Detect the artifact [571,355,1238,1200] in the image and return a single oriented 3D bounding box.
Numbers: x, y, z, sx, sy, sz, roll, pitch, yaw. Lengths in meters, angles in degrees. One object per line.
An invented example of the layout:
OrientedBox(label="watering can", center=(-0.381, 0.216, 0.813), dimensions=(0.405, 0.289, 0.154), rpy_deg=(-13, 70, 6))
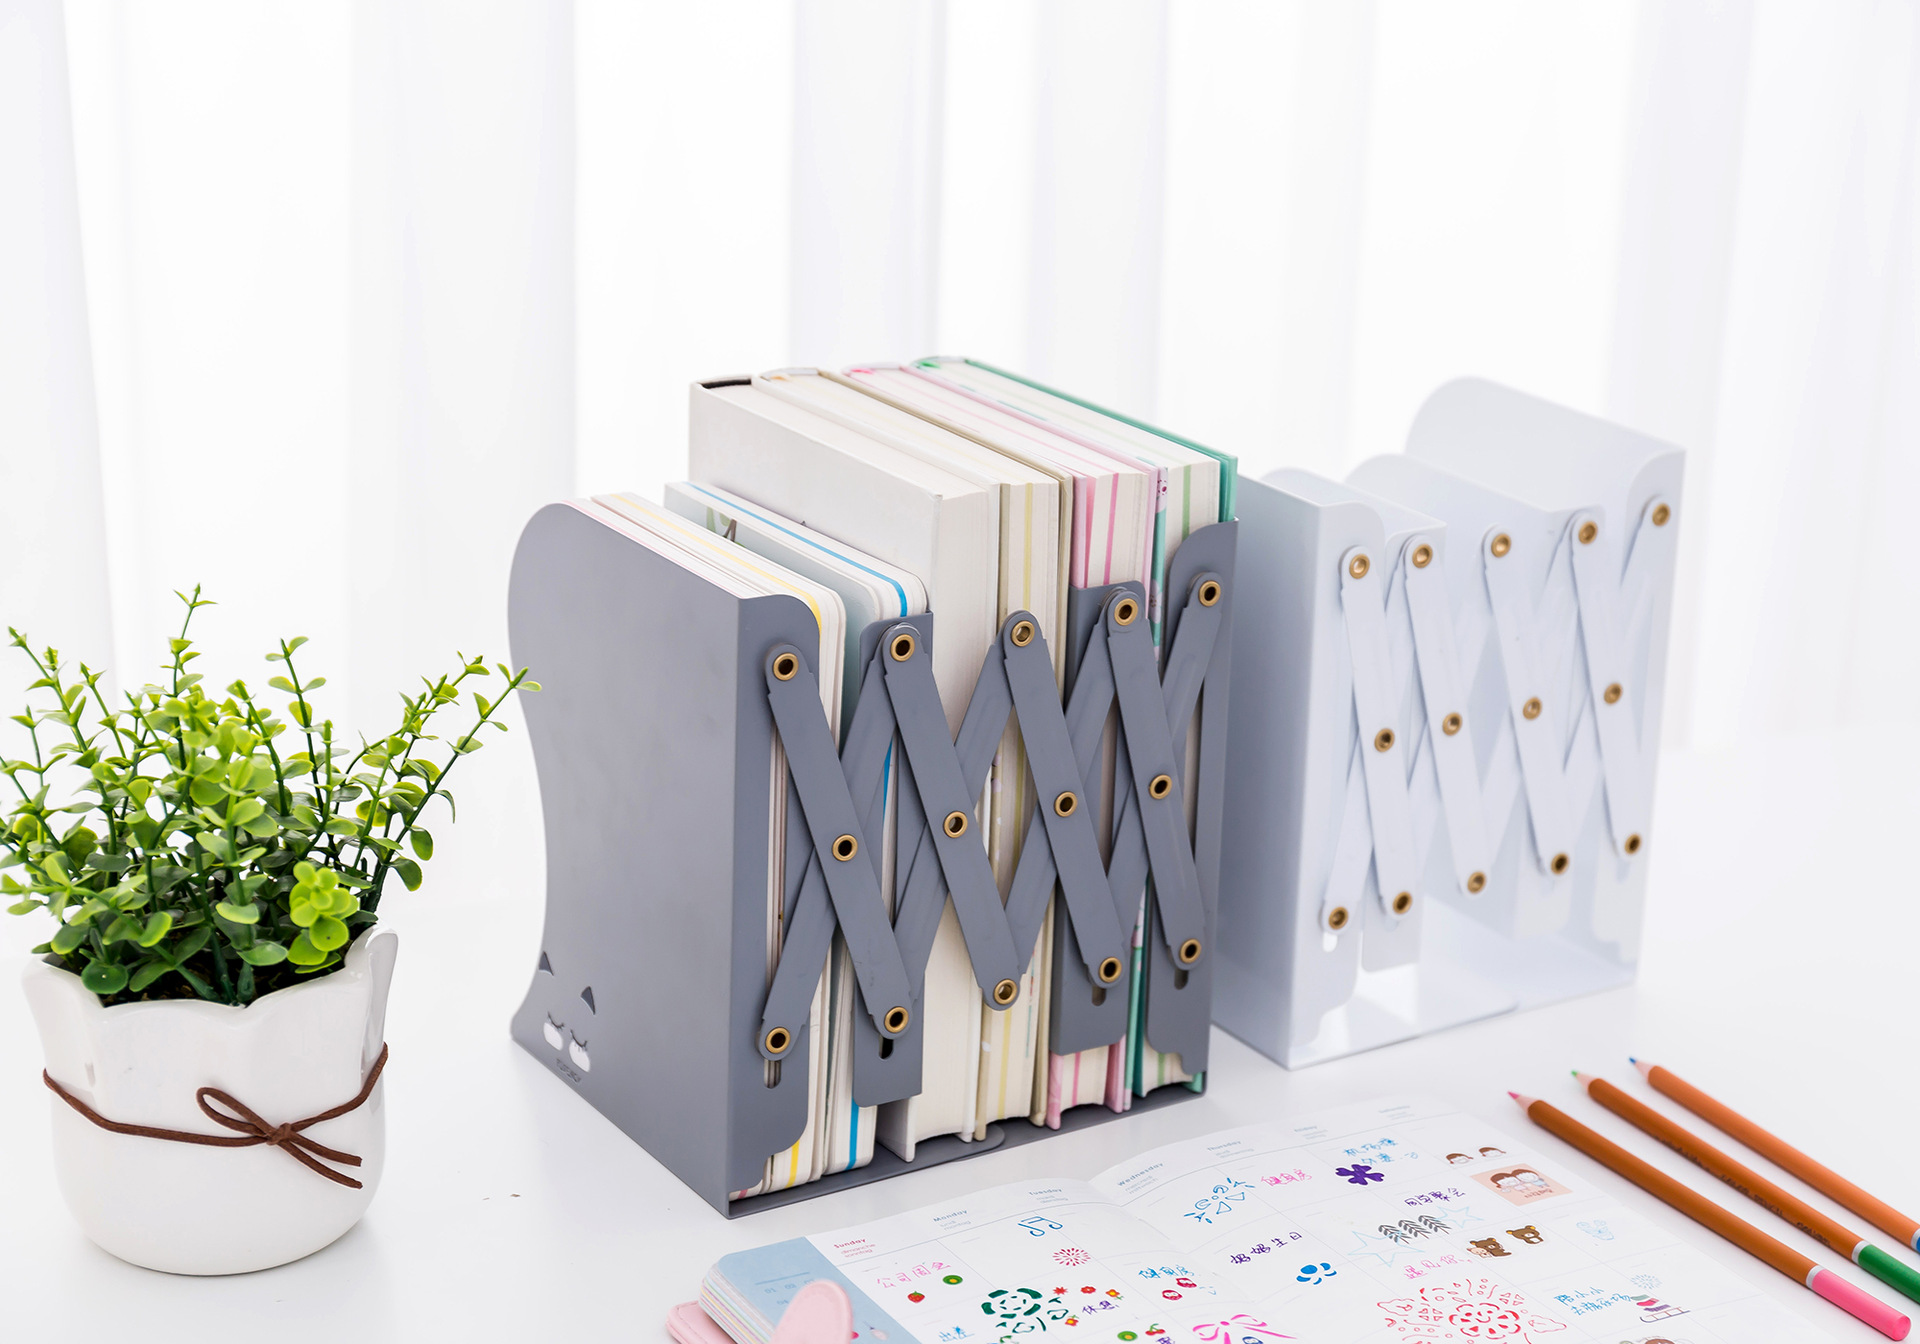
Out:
OrientedBox(label="artifact", center=(-0.072, 0.040, 1.443), dimensions=(0.496, 0.646, 0.469), rpy_deg=(-12, 24, -30))

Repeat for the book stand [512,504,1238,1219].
OrientedBox(label="book stand", center=(-0.073, 0.110, 1.404), dimensions=(0.450, 0.500, 0.470), rpy_deg=(-8, 16, -29))

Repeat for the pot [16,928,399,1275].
OrientedBox(label="pot", center=(-0.458, 0.242, 1.131), dimensions=(0.197, 0.180, 0.203), rpy_deg=(2, 19, -1))
